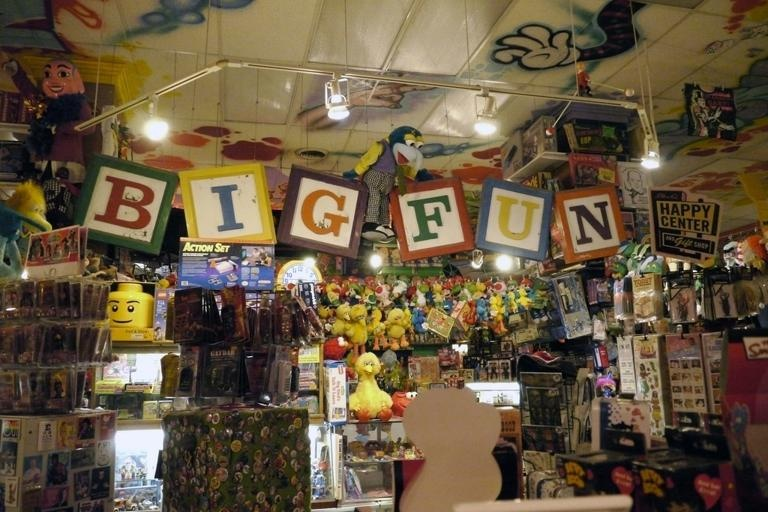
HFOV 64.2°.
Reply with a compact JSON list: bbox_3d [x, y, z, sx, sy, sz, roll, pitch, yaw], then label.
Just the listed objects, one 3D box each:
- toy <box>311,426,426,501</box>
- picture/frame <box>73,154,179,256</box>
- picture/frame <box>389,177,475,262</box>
[{"bbox_3d":[-0.225,2.053,6.053,1.133,0.776,0.729,3,-19,-14],"label":"toy"},{"bbox_3d":[-2.138,-0.424,5.012,0.755,0.713,0.103,15,0,-44],"label":"picture/frame"},{"bbox_3d":[0.277,-0.307,5.706,0.807,0.694,0.801,-11,1,-18],"label":"picture/frame"}]
